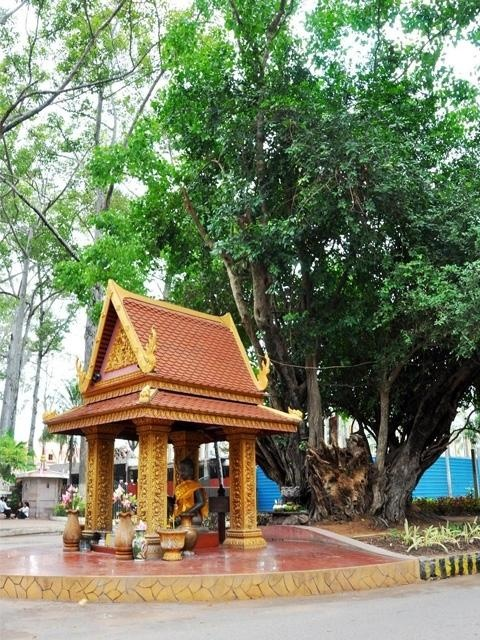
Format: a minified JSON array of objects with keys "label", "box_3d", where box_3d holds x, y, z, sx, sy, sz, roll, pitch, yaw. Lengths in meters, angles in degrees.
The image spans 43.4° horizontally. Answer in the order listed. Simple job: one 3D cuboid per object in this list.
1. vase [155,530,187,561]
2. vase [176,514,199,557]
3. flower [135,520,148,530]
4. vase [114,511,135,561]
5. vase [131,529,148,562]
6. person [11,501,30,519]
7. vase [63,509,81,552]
[{"label":"vase","box_3d":[-0.904,2.986,8.067,0.400,0.316,0.409,2,-33,-5]},{"label":"vase","box_3d":[-0.765,3.091,8.724,0.341,0.582,0.381,4,-11,-16]},{"label":"flower","box_3d":[-1.363,2.864,8.421,0.147,0.143,0.215,-3,-18,8]},{"label":"vase","box_3d":[-1.594,2.998,8.395,0.249,0.615,0.252,3,-17,-11]},{"label":"vase","box_3d":[-1.361,3.074,8.250,0.198,0.386,0.356,2,-18,-10]},{"label":"person","box_3d":[-10.247,8.941,28.328,0.290,0.595,0.787,-8,8,5]},{"label":"vase","box_3d":[-2.724,3.451,9.889,0.263,0.643,0.435,4,-18,-14]}]
